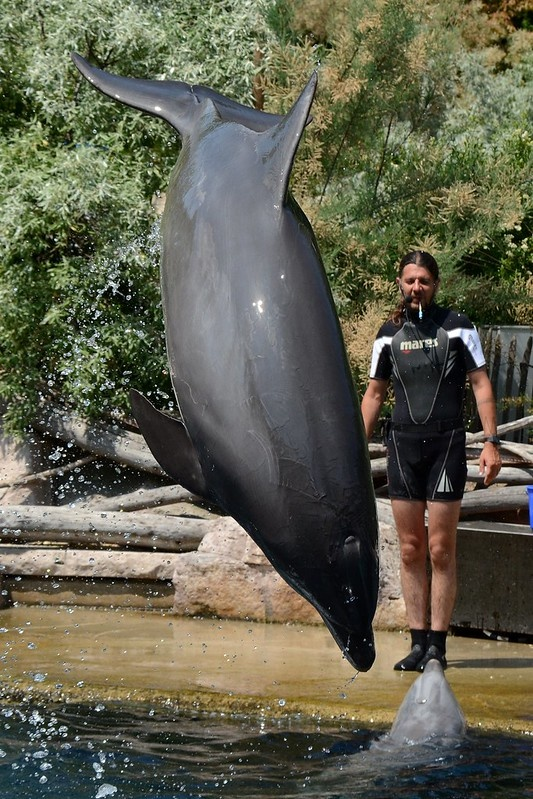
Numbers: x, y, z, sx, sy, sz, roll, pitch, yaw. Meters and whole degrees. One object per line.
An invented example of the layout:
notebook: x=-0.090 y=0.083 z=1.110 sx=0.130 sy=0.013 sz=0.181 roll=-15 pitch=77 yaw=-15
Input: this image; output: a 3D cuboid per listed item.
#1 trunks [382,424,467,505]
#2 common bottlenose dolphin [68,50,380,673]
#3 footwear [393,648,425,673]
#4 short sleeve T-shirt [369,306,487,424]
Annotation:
trunks: x=0.665 y=0.243 z=4.721 sx=0.368 sy=0.331 sz=0.241 roll=-1 pitch=-1 yaw=41
common bottlenose dolphin: x=-0.045 y=-0.109 z=3.284 sx=0.477 sy=1.648 sz=0.890 roll=-1 pitch=3 yaw=-20
footwear: x=0.592 y=1.060 z=4.733 sx=0.065 sy=0.115 sz=0.171 roll=3 pitch=-6 yaw=-44
short sleeve T-shirt: x=0.644 y=-0.141 z=4.692 sx=0.473 sy=0.509 sz=0.245 roll=-1 pitch=8 yaw=26
